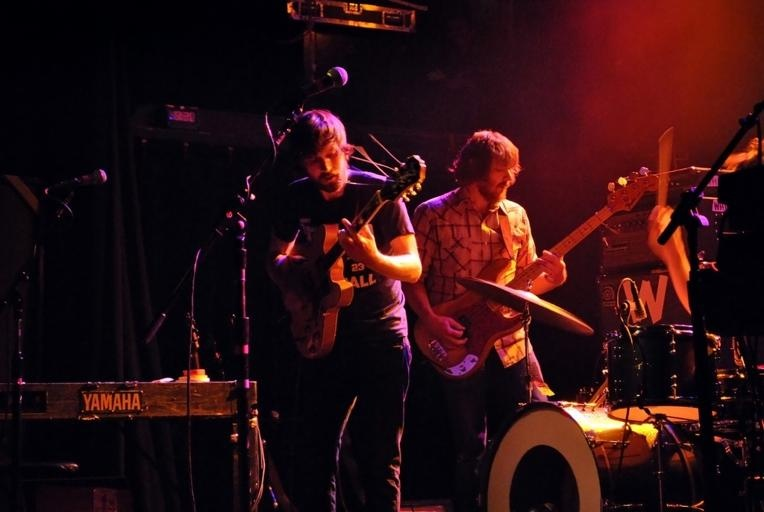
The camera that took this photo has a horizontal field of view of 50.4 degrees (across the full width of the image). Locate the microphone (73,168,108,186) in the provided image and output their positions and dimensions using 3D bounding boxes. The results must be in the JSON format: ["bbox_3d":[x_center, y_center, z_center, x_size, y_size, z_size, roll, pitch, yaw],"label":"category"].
[{"bbox_3d":[-1.956,-0.533,5.468,0.256,0.083,0.084,-16,35,2],"label":"microphone"}]

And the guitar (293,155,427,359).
[{"bbox_3d":[-0.233,-0.070,5.201,0.142,1.324,0.615,44,-6,20],"label":"guitar"}]

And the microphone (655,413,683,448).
[{"bbox_3d":[1.805,1.100,5.116,0.178,0.199,0.100,2,-4,18],"label":"microphone"}]

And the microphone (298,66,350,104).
[{"bbox_3d":[-0.363,-1.073,5.030,0.259,0.285,0.123,14,-42,35],"label":"microphone"}]

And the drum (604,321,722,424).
[{"bbox_3d":[1.965,0.764,5.455,0.651,0.501,0.635,3,-10,1],"label":"drum"}]

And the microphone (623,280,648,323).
[{"bbox_3d":[1.829,0.333,5.856,0.086,0.326,0.100,-11,13,34],"label":"microphone"}]

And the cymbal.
[{"bbox_3d":[0.950,0.323,5.185,0.518,0.155,0.497,20,-2,-12],"label":"cymbal"}]

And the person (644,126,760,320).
[{"bbox_3d":[2.163,-0.251,5.445,0.691,1.320,1.791,2,-4,18],"label":"person"}]
